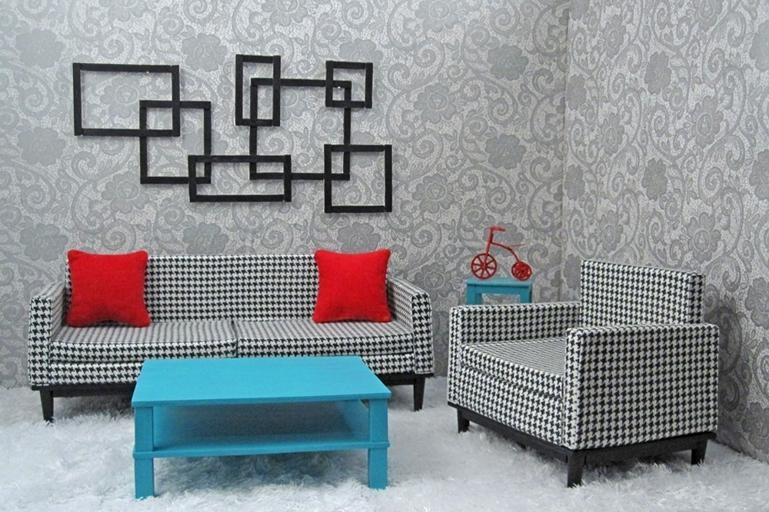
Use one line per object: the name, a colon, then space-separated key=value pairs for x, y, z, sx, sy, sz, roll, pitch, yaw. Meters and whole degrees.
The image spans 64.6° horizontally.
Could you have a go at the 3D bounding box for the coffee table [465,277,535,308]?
coffee table: x=0.832 y=0.255 z=4.653 sx=0.324 sy=0.321 sz=0.329 roll=0 pitch=1 yaw=0

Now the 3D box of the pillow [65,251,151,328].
pillow: x=-1.919 y=0.243 z=4.194 sx=0.499 sy=0.495 sz=0.188 roll=-1 pitch=-7 yaw=-15

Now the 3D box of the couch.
couch: x=-1.105 y=0.541 z=4.429 sx=2.623 sy=1.056 sz=0.929 roll=1 pitch=5 yaw=-21

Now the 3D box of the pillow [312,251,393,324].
pillow: x=-0.246 y=0.241 z=4.445 sx=0.503 sy=0.497 sz=0.189 roll=-1 pitch=-4 yaw=-3

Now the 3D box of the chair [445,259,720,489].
chair: x=1.230 y=0.633 z=3.941 sx=1.167 sy=1.142 sz=1.479 roll=1 pitch=0 yaw=-26

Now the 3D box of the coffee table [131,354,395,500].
coffee table: x=-0.686 y=0.911 z=3.378 sx=1.388 sy=0.508 sz=0.666 roll=0 pitch=10 yaw=-6
